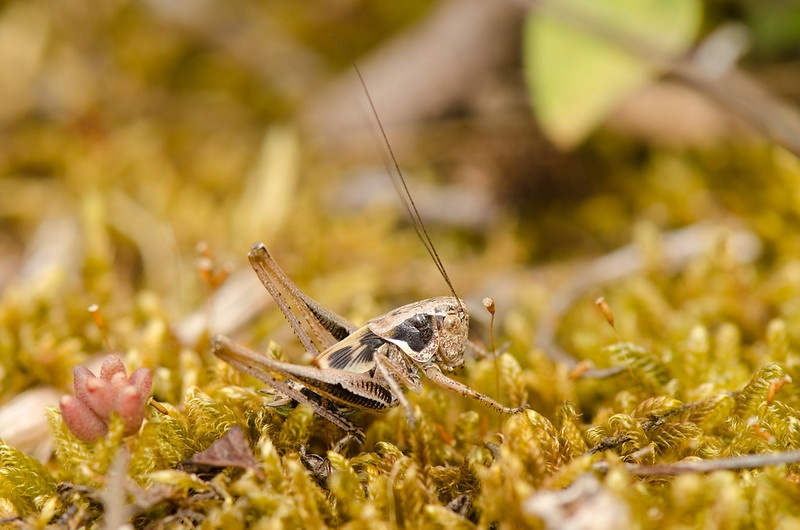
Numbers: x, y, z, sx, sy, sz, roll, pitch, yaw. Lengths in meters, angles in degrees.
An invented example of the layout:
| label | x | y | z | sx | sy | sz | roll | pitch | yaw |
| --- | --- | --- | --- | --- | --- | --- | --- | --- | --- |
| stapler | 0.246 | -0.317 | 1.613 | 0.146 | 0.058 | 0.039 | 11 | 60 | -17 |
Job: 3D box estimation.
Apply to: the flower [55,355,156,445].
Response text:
| label | x | y | z | sx | sy | sz | roll | pitch | yaw |
| --- | --- | --- | --- | --- | --- | --- | --- | --- | --- |
| flower | -1.226 | 0.566 | 3.852 | 0.373 | 0.247 | 0.329 | -24 | 6 | 17 |
